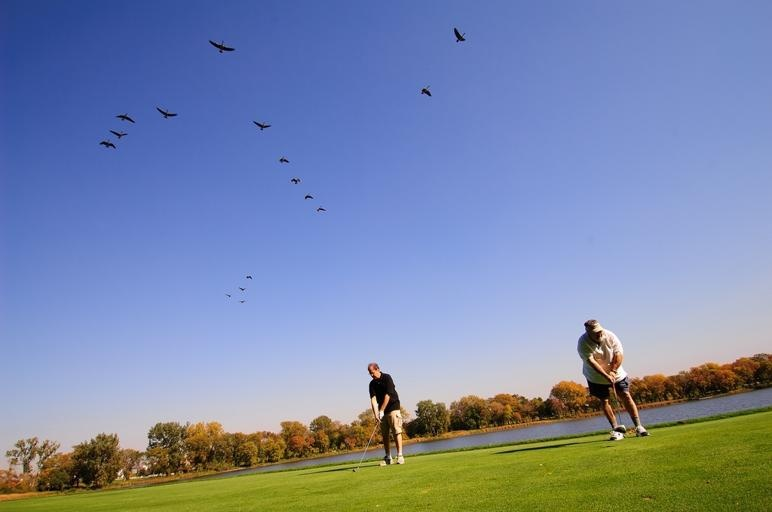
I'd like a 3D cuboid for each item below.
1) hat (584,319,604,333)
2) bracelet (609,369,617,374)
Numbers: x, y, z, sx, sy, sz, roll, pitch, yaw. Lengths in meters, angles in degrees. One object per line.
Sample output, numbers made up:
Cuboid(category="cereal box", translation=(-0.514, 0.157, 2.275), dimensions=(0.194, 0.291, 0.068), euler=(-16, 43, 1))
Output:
Cuboid(category="hat", translation=(7.844, 2.681, 21.731), dimensions=(0.517, 0.436, 0.743), euler=(-17, -23, 15))
Cuboid(category="bracelet", translation=(8.680, 4.414, 21.856), dimensions=(0.160, 0.169, 0.166), euler=(4, -34, -4))
